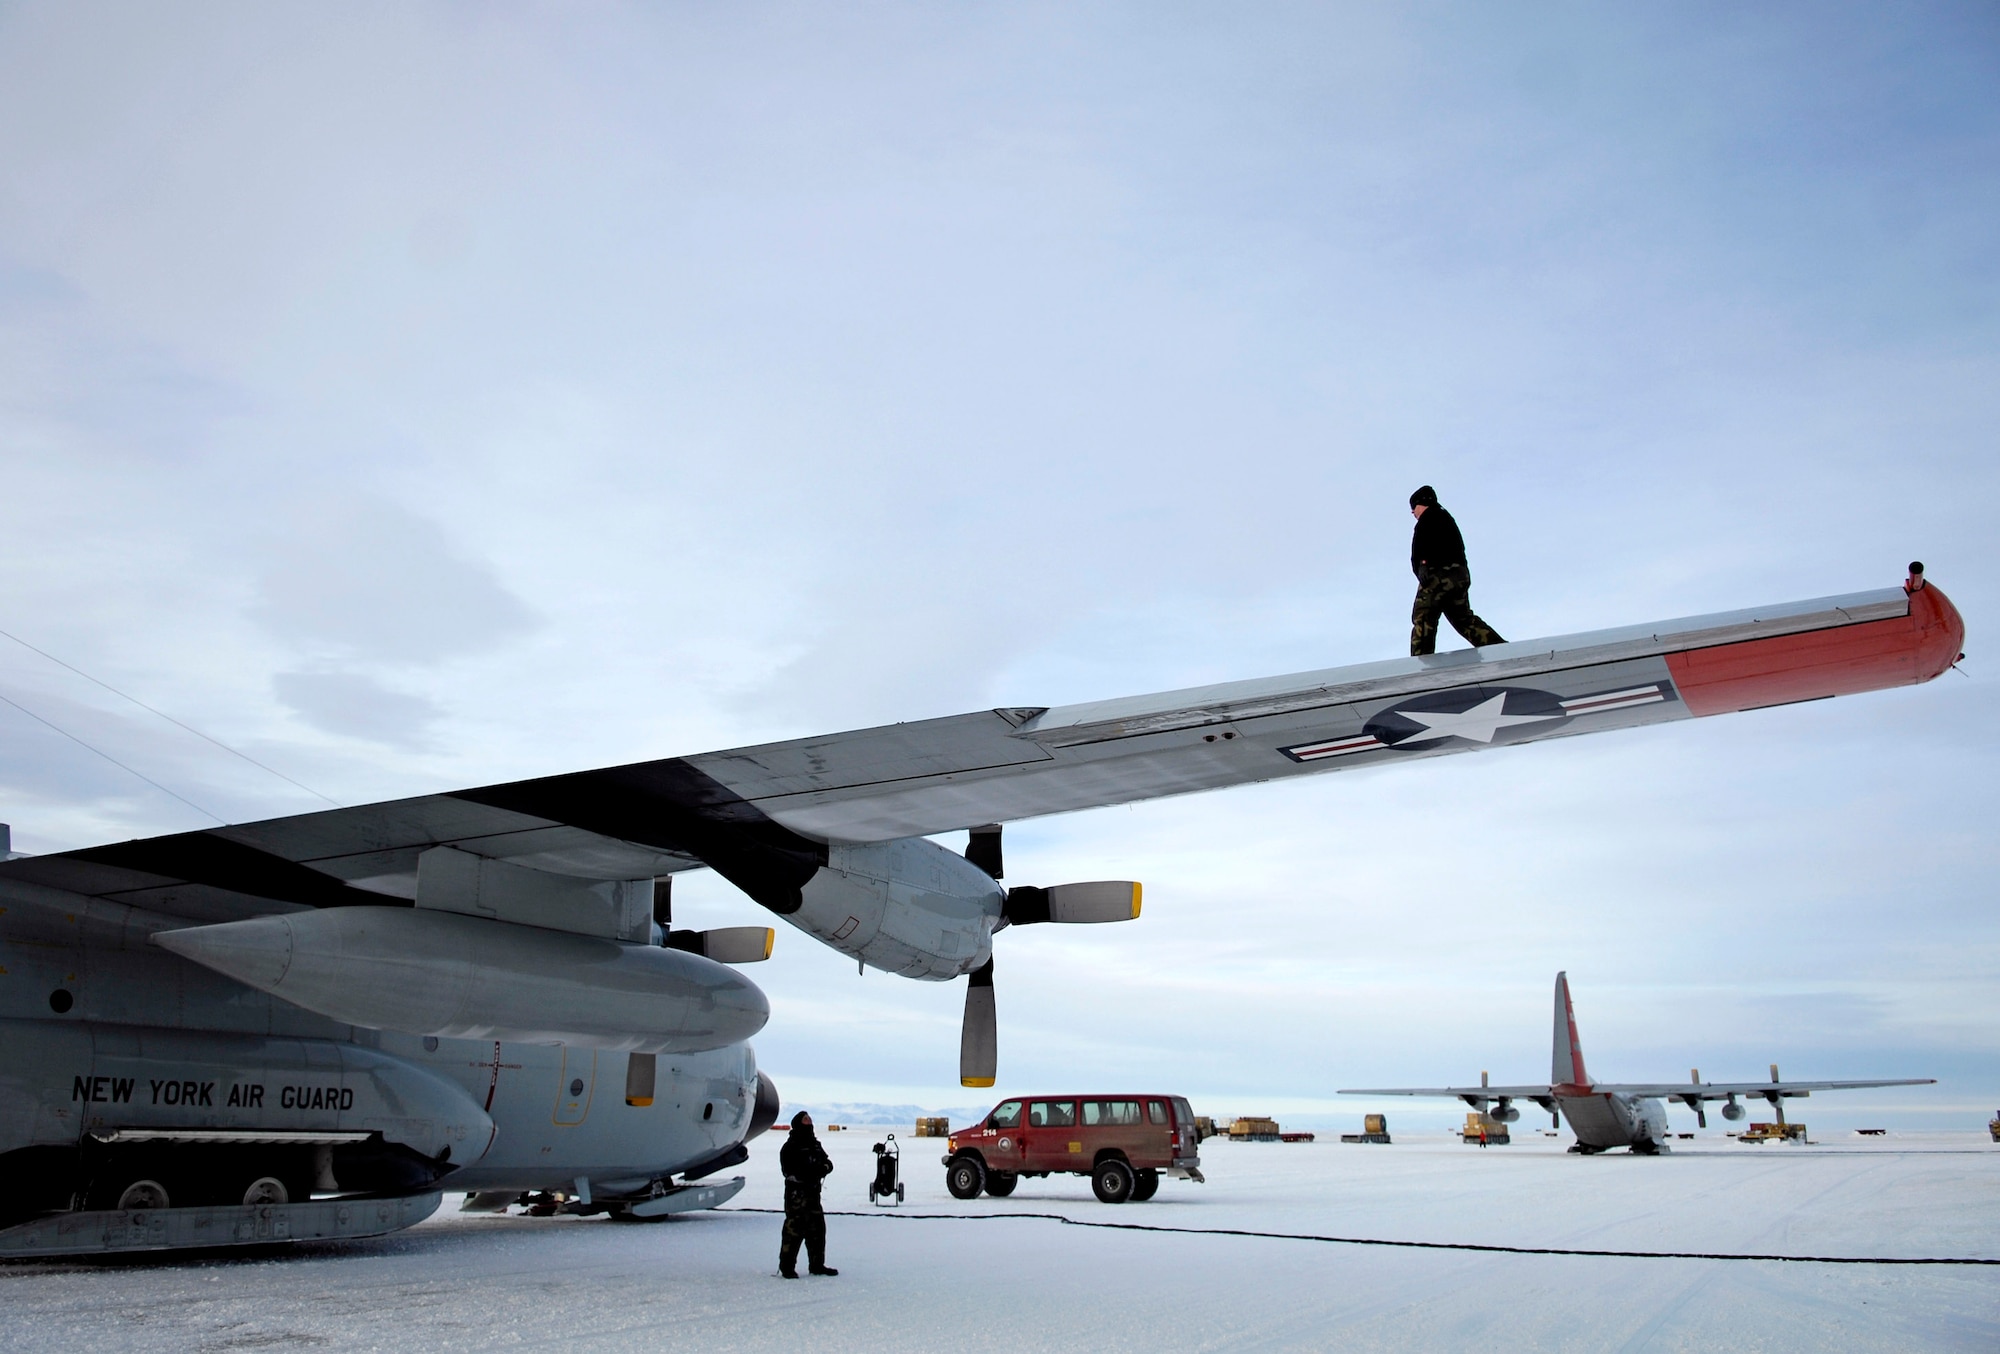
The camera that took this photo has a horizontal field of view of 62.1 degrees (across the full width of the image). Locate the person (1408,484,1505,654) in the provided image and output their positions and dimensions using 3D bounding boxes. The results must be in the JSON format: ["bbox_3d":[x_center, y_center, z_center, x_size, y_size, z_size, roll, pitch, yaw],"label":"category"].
[{"bbox_3d":[3.883,-0.893,14.327,0.705,1.931,1.159,-8,-25,13],"label":"person"}]
